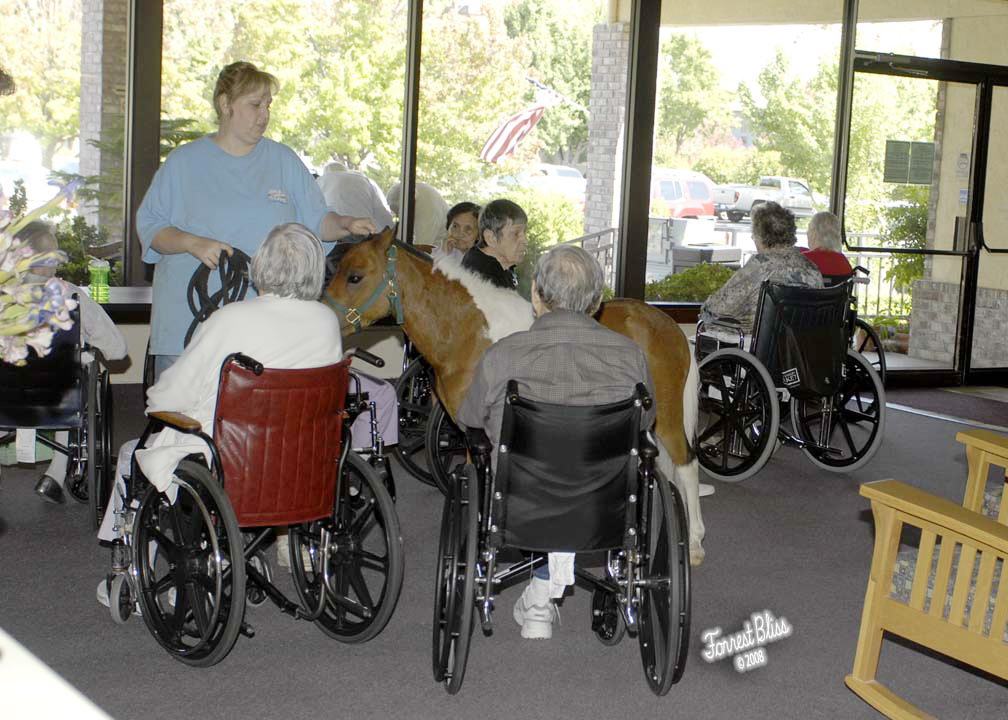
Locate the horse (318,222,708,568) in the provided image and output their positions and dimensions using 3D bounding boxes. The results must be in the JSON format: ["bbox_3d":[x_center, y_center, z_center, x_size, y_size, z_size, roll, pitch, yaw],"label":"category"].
[{"bbox_3d":[0.121,0.185,3.592,1.913,1.456,0.472,0,11,1],"label":"horse"}]

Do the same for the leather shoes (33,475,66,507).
[{"bbox_3d":[-2.571,0.736,4.393,0.152,0.162,0.120,11,56,24],"label":"leather shoes"}]

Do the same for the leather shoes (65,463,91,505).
[{"bbox_3d":[-2.440,0.692,4.412,0.168,0.262,0.092,1,-6,6],"label":"leather shoes"}]
